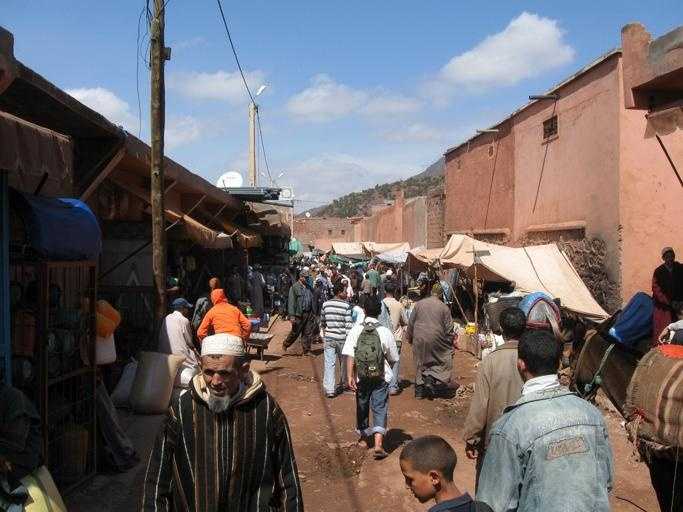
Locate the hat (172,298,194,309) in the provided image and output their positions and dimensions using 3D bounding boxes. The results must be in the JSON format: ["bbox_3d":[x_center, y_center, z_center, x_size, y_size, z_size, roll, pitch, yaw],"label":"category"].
[{"bbox_3d":[-2.253,0.667,8.736,0.165,0.107,0.276,2,-1,18],"label":"hat"}]

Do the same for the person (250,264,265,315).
[{"bbox_3d":[-2.374,0.943,17.382,0.362,1.450,1.702,1,3,-8],"label":"person"}]

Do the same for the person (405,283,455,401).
[{"bbox_3d":[1.371,1.309,9.498,0.698,1.755,0.347,2,3,6],"label":"person"}]

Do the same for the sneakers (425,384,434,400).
[{"bbox_3d":[1.352,2.091,9.536,0.096,0.297,0.117,-4,22,23],"label":"sneakers"}]

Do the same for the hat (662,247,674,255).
[{"bbox_3d":[5.115,-0.098,9.627,0.168,0.116,0.180,-2,-5,9],"label":"hat"}]

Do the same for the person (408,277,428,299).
[{"bbox_3d":[2.338,0.984,18.744,0.499,0.464,0.845,-2,-3,7],"label":"person"}]

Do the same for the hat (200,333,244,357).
[{"bbox_3d":[-0.777,0.575,3.985,0.173,0.103,0.185,0,-1,22],"label":"hat"}]
